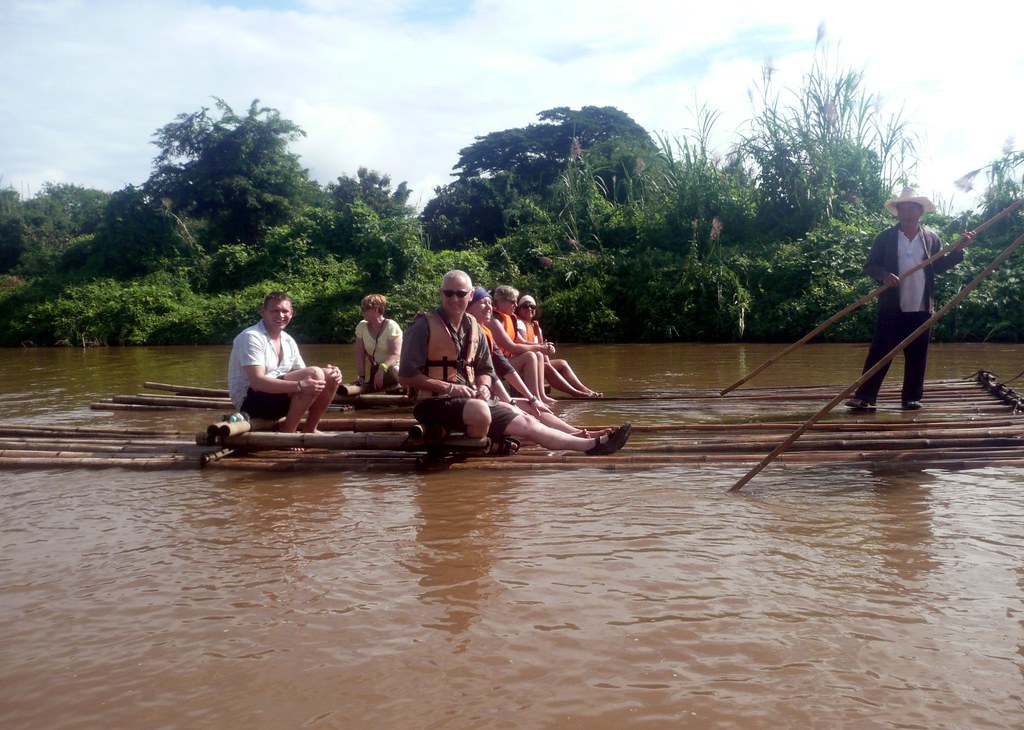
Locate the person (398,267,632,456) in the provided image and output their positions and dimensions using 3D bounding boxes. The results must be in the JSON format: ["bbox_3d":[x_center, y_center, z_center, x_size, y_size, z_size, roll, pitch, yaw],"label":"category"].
[{"bbox_3d":[0.090,0.015,6.965,2.121,1.243,0.904,16,20,22],"label":"person"}]

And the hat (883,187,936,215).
[{"bbox_3d":[4.489,-1.865,9.247,0.461,0.277,0.693,2,10,22],"label":"hat"}]

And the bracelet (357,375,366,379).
[{"bbox_3d":[-1.900,0.156,10.405,0.090,0.020,0.084,2,3,7],"label":"bracelet"}]

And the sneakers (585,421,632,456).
[{"bbox_3d":[0.876,0.618,6.794,0.467,0.149,0.207,-22,-29,31],"label":"sneakers"}]

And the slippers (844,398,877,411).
[{"bbox_3d":[3.953,0.457,9.314,0.375,0.132,0.138,9,4,23],"label":"slippers"}]

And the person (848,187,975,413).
[{"bbox_3d":[4.445,-0.711,9.291,1.082,2.411,1.243,3,12,25],"label":"person"}]

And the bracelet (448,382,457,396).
[{"bbox_3d":[-0.493,0.208,6.926,0.077,0.099,0.022,-11,14,-37],"label":"bracelet"}]
